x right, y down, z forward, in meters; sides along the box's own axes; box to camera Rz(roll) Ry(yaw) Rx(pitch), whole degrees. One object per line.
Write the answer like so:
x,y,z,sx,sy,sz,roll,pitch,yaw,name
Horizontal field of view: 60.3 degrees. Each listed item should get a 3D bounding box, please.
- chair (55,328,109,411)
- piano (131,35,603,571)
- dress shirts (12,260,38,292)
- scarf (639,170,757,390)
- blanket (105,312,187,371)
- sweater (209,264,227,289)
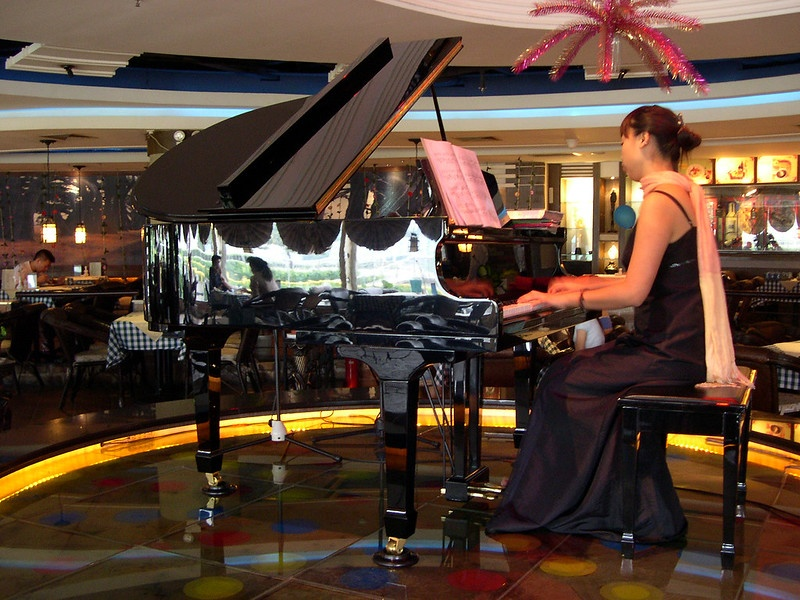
-3.536,0.668,7.604,0.508,0.877,1.498,-6,10,-25,chair
-0.179,-0.237,3.625,2.370,2.054,1.840,-3,15,6,piano
-5.816,-0.355,10.627,0.338,0.487,0.570,5,-9,-38,dress shirts
1.446,-0.095,3.143,0.262,0.934,0.331,-4,10,-14,scarf
-2.563,0.363,6.797,1.038,0.387,0.912,0,-1,-12,blanket
-0.852,-0.115,3.220,0.072,0.079,0.119,-8,12,-26,sweater
